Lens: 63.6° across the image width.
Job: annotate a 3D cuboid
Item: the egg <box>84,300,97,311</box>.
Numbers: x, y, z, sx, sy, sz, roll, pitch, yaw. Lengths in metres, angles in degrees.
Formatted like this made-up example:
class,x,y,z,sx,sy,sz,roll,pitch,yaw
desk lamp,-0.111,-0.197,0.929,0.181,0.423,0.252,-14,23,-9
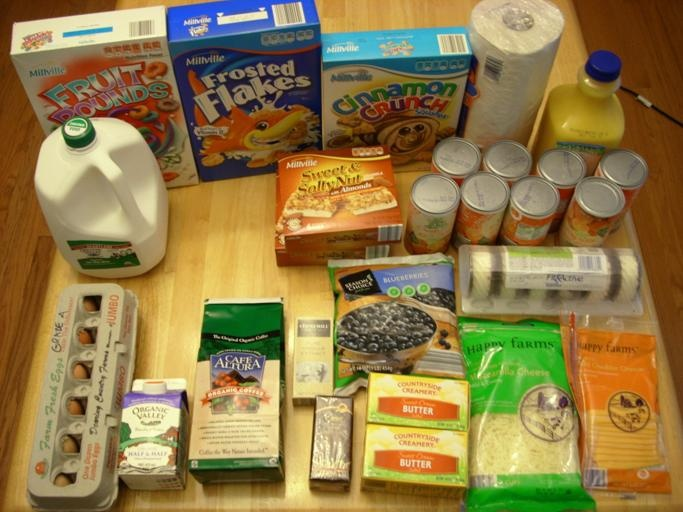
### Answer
class,x,y,z,sx,sy,sz,roll,pitch,yaw
egg,-0.619,0.123,1.359,0.023,0.023,0.032,-21,61,-8

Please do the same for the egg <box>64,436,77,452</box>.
class,x,y,z,sx,sy,sz,roll,pitch,yaw
egg,-0.606,0.423,1.235,0.029,0.022,0.039,-12,60,-3

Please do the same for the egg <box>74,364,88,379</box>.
class,x,y,z,sx,sy,sz,roll,pitch,yaw
egg,-0.614,0.274,1.300,0.026,0.021,0.036,-22,61,-9

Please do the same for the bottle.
class,x,y,z,sx,sy,sz,roll,pitch,yaw
bottle,0.606,-0.360,1.424,0.209,0.362,0.192,-3,69,7
